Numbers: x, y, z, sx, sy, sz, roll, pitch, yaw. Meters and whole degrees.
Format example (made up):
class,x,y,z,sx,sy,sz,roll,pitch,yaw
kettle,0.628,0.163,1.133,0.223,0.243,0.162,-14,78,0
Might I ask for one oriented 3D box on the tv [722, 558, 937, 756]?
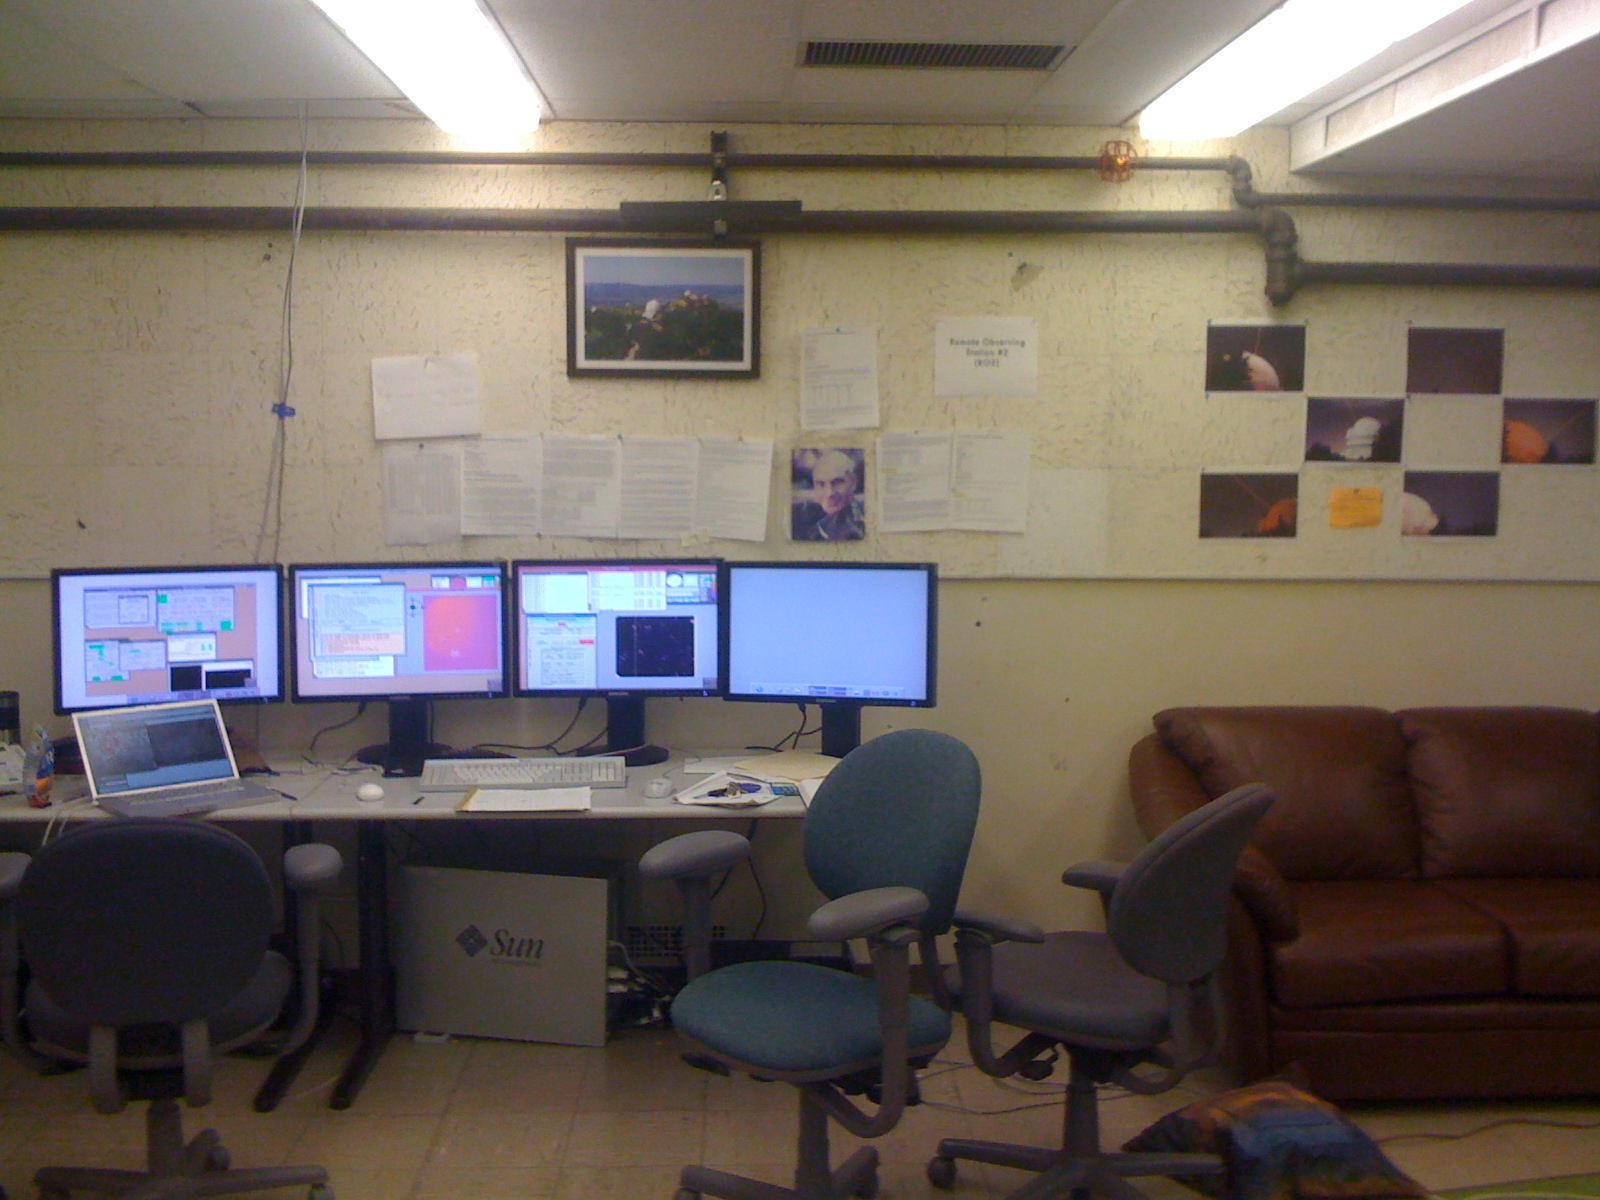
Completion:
class,x,y,z,sx,sy,sz,roll,pitch,yaw
tv,0.090,0.151,4.644,0.680,0.581,0.211,0,-4,3

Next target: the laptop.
class,x,y,z,sx,sy,sz,roll,pitch,yaw
laptop,-1.885,0.417,4.356,0.422,0.228,0.401,1,-2,-40

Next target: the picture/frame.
class,x,y,z,sx,sy,sz,roll,pitch,yaw
picture/frame,-0.460,-0.973,4.837,0.494,0.322,0.021,0,5,-1

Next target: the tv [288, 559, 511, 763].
class,x,y,z,sx,sy,sz,roll,pitch,yaw
tv,-1.288,0.169,4.686,0.710,0.625,0.263,0,1,-5

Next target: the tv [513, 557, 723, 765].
class,x,y,z,sx,sy,sz,roll,pitch,yaw
tv,-0.607,0.170,4.732,0.720,0.628,0.248,0,-1,-1
